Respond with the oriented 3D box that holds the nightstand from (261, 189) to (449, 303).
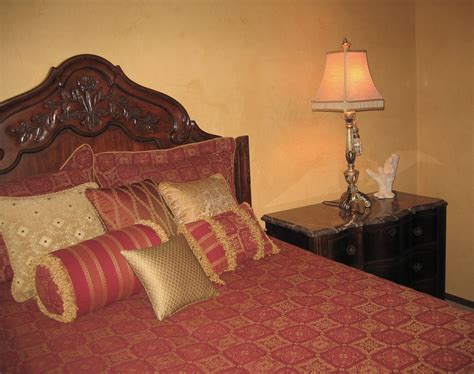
[{"bbox_3d":[0.984,0.562,3.195,1.064,0.870,0.544,-11,15,-19],"label":"nightstand"}]
